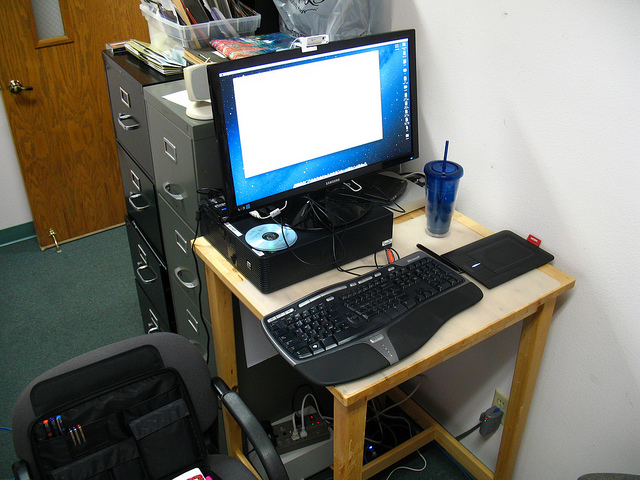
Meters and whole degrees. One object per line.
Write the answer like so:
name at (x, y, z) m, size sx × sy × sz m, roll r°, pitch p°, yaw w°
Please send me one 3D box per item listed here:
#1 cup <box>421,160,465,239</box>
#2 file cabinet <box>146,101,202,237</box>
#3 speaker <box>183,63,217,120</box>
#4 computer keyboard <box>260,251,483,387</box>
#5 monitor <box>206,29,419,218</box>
cup at (0.414, -0.147, 1.752) m, size 0.125 × 0.259 × 0.106 m, roll 9°, pitch 31°, yaw 14°
file cabinet at (-0.475, -0.250, 1.930) m, size 0.183 × 0.516 × 0.248 m, roll -18°, pitch 35°, yaw -28°
speaker at (-0.398, -0.513, 1.714) m, size 0.128 × 0.163 × 0.142 m, roll -20°, pitch 38°, yaw -35°
computer keyboard at (0.180, 0.210, 1.516) m, size 0.646 × 0.072 × 0.367 m, roll -20°, pitch 34°, yaw -26°
monitor at (0.009, -0.395, 1.627) m, size 0.719 × 0.467 × 0.069 m, roll -18°, pitch 34°, yaw -18°
